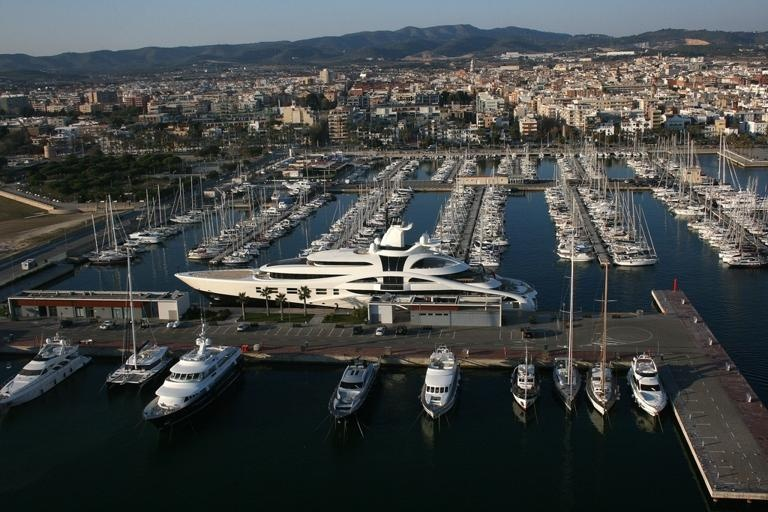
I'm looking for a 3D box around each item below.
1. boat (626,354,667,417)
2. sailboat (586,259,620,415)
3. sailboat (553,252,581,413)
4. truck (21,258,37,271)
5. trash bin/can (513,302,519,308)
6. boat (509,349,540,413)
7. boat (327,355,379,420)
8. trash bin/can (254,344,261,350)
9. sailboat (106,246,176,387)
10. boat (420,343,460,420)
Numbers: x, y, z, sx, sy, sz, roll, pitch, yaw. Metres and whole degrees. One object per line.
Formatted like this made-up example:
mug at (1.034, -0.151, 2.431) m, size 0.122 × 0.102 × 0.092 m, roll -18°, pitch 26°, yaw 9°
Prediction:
boat at (16.648, 7.988, 40.754) m, size 1.486 × 1.392 × 3.953 m, roll -5°, pitch 23°, yaw 14°
sailboat at (14.317, 6.776, 41.781) m, size 3.248 × 9.782 × 2.019 m, roll 1°, pitch -1°, yaw 0°
sailboat at (12.356, 5.196, 43.263) m, size 1.687 × 6.731 × 8.430 m, roll 2°, pitch 19°, yaw 16°
truck at (-36.803, 0.875, 66.830) m, size 1.159 × 0.670 × 1.766 m, roll -2°, pitch 10°, yaw -17°
trash bin/can at (10.358, 3.725, 50.910) m, size 0.518 × 0.377 × 0.246 m, roll 0°, pitch 15°, yaw 5°
boat at (9.174, 8.078, 42.174) m, size 1.739 × 1.966 × 4.314 m, roll 1°, pitch 18°, yaw 12°
boat at (-2.067, 8.438, 41.842) m, size 1.673 × 1.592 × 4.899 m, roll 3°, pitch 22°, yaw 12°
trash bin/can at (-9.221, 6.457, 46.539) m, size 0.462 × 0.218 × 0.404 m, roll 0°, pitch 8°, yaw -1°
sailboat at (-17.668, 4.561, 46.877) m, size 5.306 × 8.791 × 3.746 m, roll 0°, pitch -7°, yaw 3°
boat at (3.628, 8.291, 41.910) m, size 1.947 × 2.355 × 4.808 m, roll 1°, pitch 18°, yaw 12°
